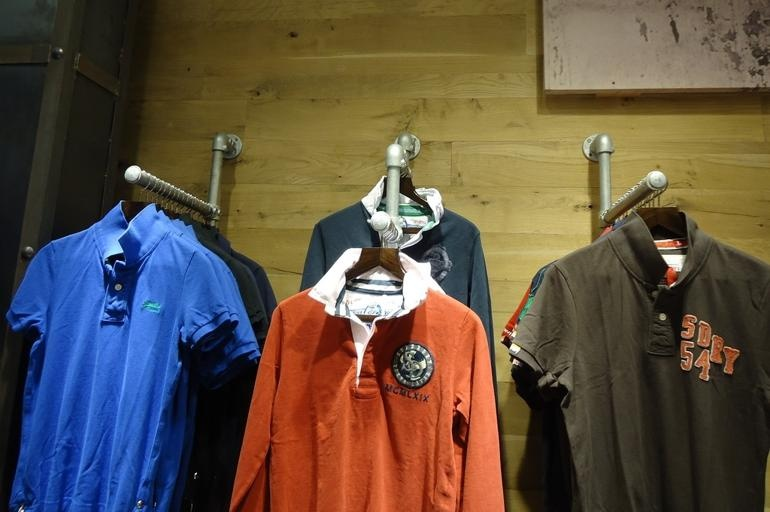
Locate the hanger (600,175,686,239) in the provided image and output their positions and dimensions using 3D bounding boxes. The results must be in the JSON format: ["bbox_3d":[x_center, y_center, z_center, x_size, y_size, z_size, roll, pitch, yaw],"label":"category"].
[{"bbox_3d":[0.910,-0.182,3.200,0.214,0.212,0.380,1,-2,13],"label":"hanger"}]

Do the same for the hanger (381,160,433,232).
[{"bbox_3d":[0.091,-0.205,3.235,0.184,0.089,0.250,3,14,3],"label":"hanger"}]

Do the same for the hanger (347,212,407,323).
[{"bbox_3d":[-0.025,0.062,3.037,0.204,0.355,0.131,2,-2,-5],"label":"hanger"}]
